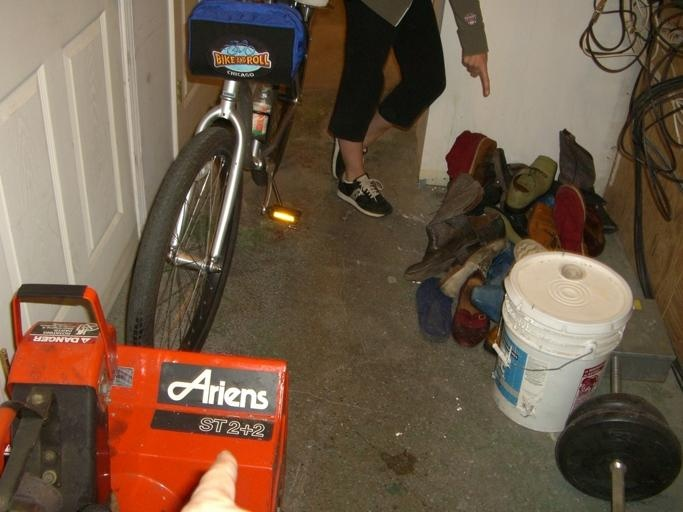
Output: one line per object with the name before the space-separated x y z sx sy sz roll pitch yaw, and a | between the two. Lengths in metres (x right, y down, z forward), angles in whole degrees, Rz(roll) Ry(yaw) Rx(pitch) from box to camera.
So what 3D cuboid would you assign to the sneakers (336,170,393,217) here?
sneakers | 0.116 -0.332 3.003 0.320 0.145 0.145 34 51 13
